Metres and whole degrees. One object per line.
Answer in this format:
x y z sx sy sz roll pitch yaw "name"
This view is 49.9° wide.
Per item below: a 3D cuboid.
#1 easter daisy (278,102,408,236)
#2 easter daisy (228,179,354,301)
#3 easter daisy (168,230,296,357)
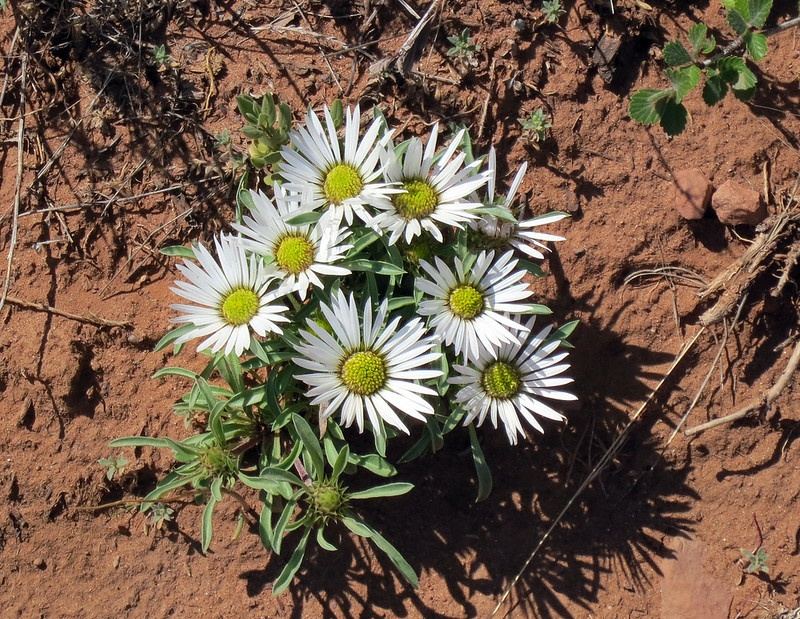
-0.317 -0.802 4.740 0.667 0.327 0.679 26 -23 -31 "easter daisy"
-0.575 -0.393 4.604 0.587 0.271 0.694 5 28 10 "easter daisy"
-0.897 -0.101 4.758 0.569 0.290 0.731 -7 -28 -6 "easter daisy"
